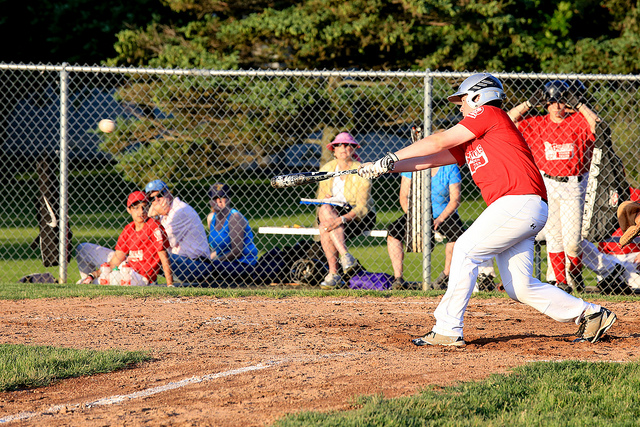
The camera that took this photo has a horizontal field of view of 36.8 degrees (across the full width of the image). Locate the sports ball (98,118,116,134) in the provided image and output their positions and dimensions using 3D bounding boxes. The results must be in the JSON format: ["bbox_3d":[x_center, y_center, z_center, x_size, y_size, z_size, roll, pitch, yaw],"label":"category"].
[{"bbox_3d":[-3.571,-1.458,16.143,0.186,0.201,0.246,25,12,26],"label":"sports ball"}]

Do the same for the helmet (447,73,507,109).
[{"bbox_3d":[2.224,-1.699,13.315,0.608,0.393,0.427,-4,-6,6],"label":"helmet"}]

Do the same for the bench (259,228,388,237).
[{"bbox_3d":[0.038,0.309,16.290,2.131,0.160,0.561,-1,-1,12],"label":"bench"}]

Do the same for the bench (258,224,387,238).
[{"bbox_3d":[-0.239,0.319,16.969,1.564,0.329,0.244,-3,-5,7],"label":"bench"}]

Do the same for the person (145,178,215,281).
[{"bbox_3d":[-2.406,0.355,16.268,0.948,1.854,0.637,0,0,-43],"label":"person"}]
